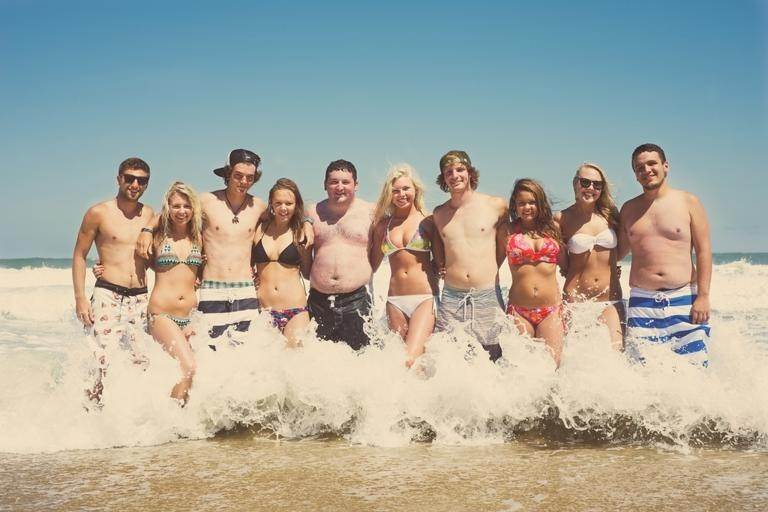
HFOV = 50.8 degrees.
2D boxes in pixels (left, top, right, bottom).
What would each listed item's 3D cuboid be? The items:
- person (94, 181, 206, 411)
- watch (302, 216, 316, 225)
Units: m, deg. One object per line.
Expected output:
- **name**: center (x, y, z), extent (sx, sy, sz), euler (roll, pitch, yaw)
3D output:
- **person**: center (-2.709, 0.473, 10.357), extent (0.716, 2.847, 0.367), euler (-1, -1, -13)
- **watch**: center (-1.015, -0.492, 10.918), extent (0.085, 0.095, 0.108), euler (13, 4, 9)
